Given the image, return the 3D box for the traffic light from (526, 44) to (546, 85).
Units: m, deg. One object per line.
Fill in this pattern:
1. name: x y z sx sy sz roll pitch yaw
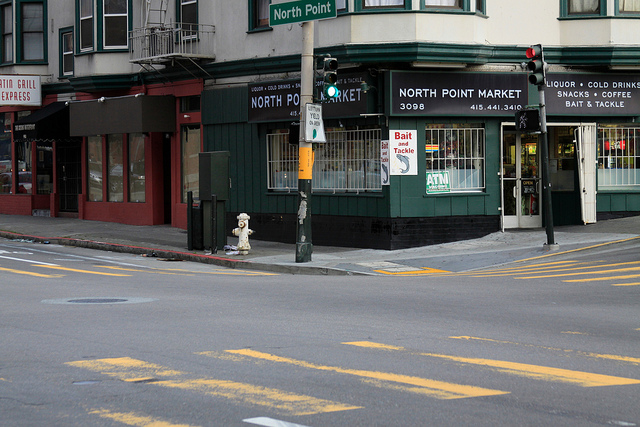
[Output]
1. traffic light: 5.615 -3.874 21.591 0.550 1.030 0.450 -1 5 -4

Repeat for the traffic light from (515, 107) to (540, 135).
1. traffic light: 5.462 -2.536 21.891 0.691 0.843 0.444 1 24 24

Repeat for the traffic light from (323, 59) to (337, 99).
1. traffic light: 0.255 -3.469 21.289 0.323 0.953 0.463 0 5 -1

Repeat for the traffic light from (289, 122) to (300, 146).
1. traffic light: -0.692 -2.064 21.636 0.252 0.539 0.472 -1 6 -7
